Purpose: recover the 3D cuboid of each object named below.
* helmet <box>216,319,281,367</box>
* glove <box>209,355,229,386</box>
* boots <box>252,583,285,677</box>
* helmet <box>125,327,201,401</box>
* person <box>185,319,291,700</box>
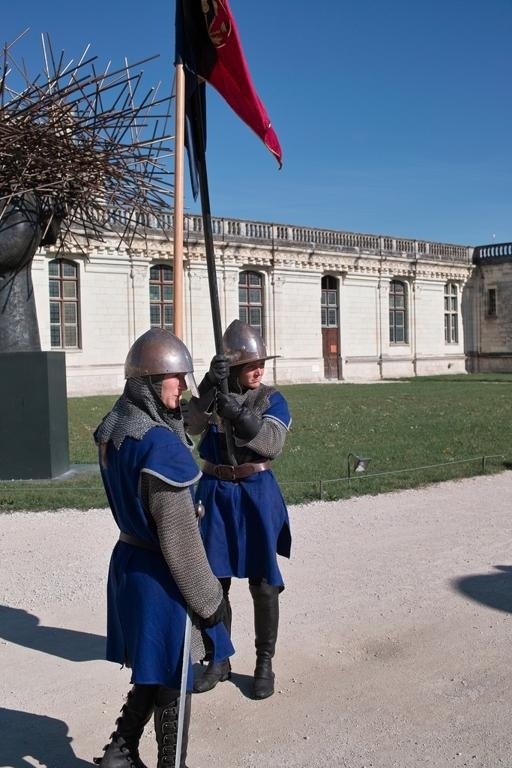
[{"bbox_3d":[-0.056,-0.195,4.549,0.211,0.162,0.237,-11,5,-42],"label":"helmet"},{"bbox_3d":[-0.166,-0.062,4.042,0.039,0.122,0.085,5,7,30],"label":"glove"},{"bbox_3d":[0.040,1.142,4.406,0.127,0.377,0.289,-1,5,-1],"label":"boots"},{"bbox_3d":[-0.355,-0.095,3.546,0.229,0.234,0.219,-1,0,37],"label":"helmet"},{"bbox_3d":[-0.102,0.630,4.543,0.538,1.871,0.527,1,7,14],"label":"person"}]
